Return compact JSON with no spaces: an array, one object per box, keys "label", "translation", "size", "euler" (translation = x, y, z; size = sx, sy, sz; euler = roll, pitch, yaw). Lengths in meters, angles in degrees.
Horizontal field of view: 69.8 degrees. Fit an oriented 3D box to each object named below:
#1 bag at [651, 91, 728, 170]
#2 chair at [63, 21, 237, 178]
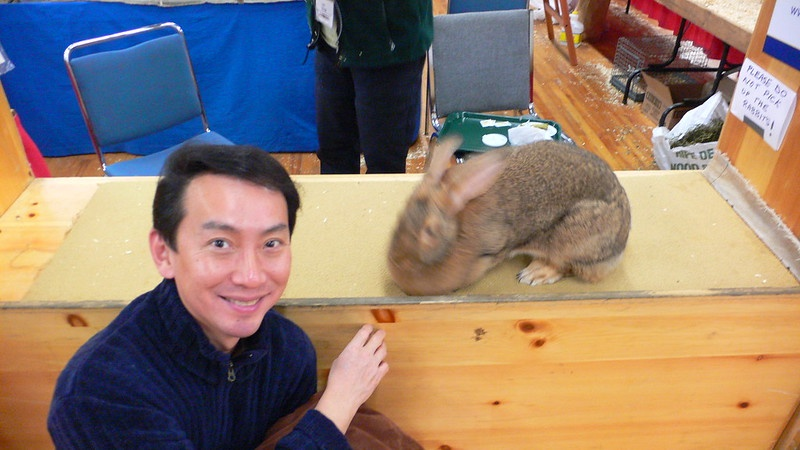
[{"label":"bag","translation":[2.107,-0.641,4.258],"size":[0.573,0.516,0.357],"euler":[-8,37,-15]},{"label":"chair","translation":[-1.647,-0.884,3.790],"size":[0.740,1.235,0.803],"euler":[-26,77,-17]}]
